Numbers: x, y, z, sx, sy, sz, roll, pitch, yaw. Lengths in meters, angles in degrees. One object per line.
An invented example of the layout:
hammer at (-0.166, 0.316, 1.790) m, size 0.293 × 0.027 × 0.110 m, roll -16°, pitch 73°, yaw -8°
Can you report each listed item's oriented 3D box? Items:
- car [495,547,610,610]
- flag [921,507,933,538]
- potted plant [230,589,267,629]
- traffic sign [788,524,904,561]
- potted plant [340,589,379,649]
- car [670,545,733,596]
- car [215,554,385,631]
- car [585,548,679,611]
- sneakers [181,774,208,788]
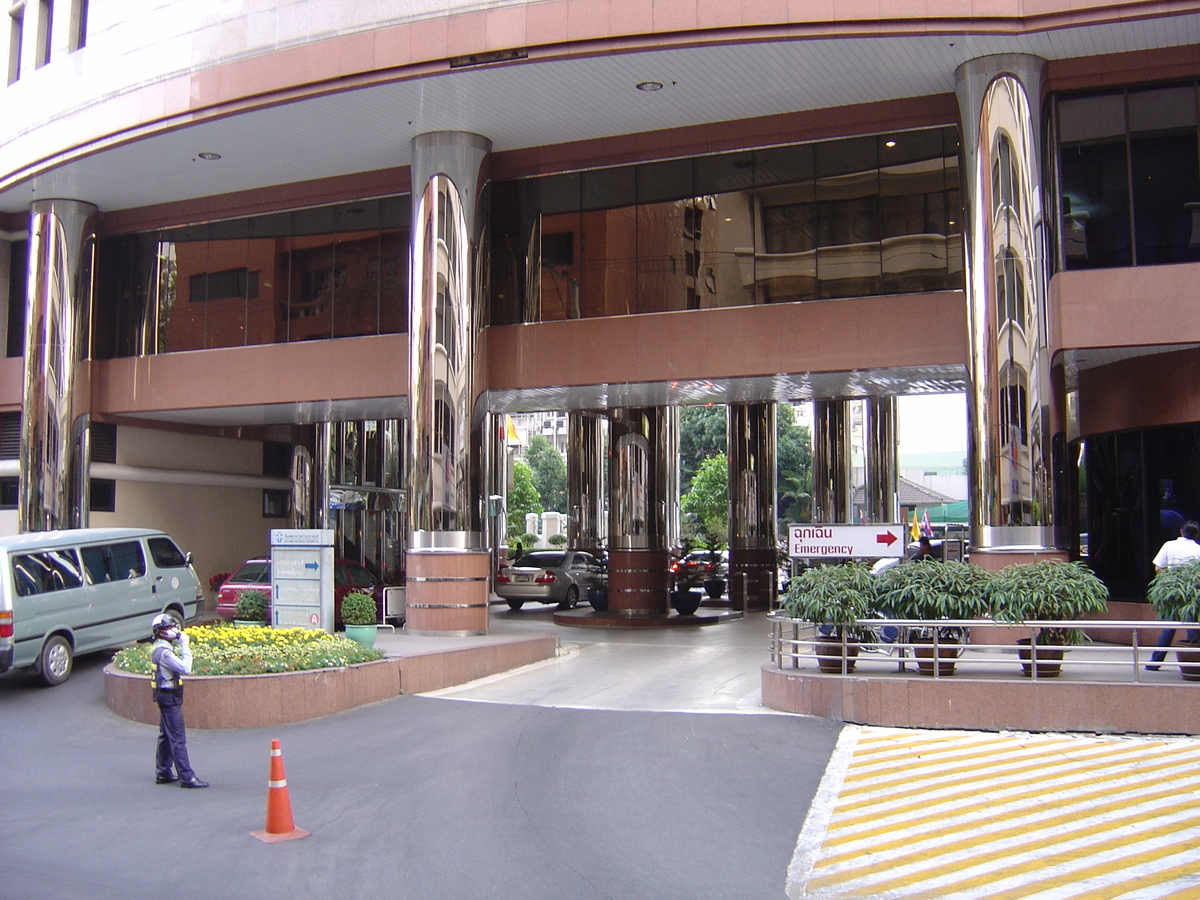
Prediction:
car at (-0.975, 3.806, 33.419) m, size 1.447 × 1.218 × 3.424 m, roll -2°, pitch -2°, yaw 28°
flag at (15.692, 3.387, 53.387) m, size 0.486 × 0.562 × 2.544 m, roll -16°, pitch -22°, yaw 14°
potted plant at (-6.437, 2.894, 20.560) m, size 0.729 × 0.550 × 0.751 m, roll -2°, pitch 1°, yaw -44°
traffic sign at (3.498, 1.268, 15.803) m, size 1.569 × 0.485 × 0.472 m, roll -1°, pitch 1°, yaw 14°
potted plant at (-3.792, 2.767, 17.572) m, size 0.473 × 0.967 × 2.011 m, roll -1°, pitch 1°, yaw -13°
car at (3.556, 4.088, 38.061) m, size 2.318 × 1.442 × 1.357 m, roll 3°, pitch -8°, yaw 10°
car at (-6.489, 3.089, 24.302) m, size 1.508 × 1.267 × 3.410 m, roll -5°, pitch -9°, yaw 37°
car at (0.763, 3.321, 27.869) m, size 1.789 × 1.586 × 1.588 m, roll -1°, pitch -7°, yaw 8°
sneakers at (-4.195, 3.401, 11.508) m, size 0.309 × 0.154 × 0.120 m, roll 0°, pitch -7°, yaw 4°
